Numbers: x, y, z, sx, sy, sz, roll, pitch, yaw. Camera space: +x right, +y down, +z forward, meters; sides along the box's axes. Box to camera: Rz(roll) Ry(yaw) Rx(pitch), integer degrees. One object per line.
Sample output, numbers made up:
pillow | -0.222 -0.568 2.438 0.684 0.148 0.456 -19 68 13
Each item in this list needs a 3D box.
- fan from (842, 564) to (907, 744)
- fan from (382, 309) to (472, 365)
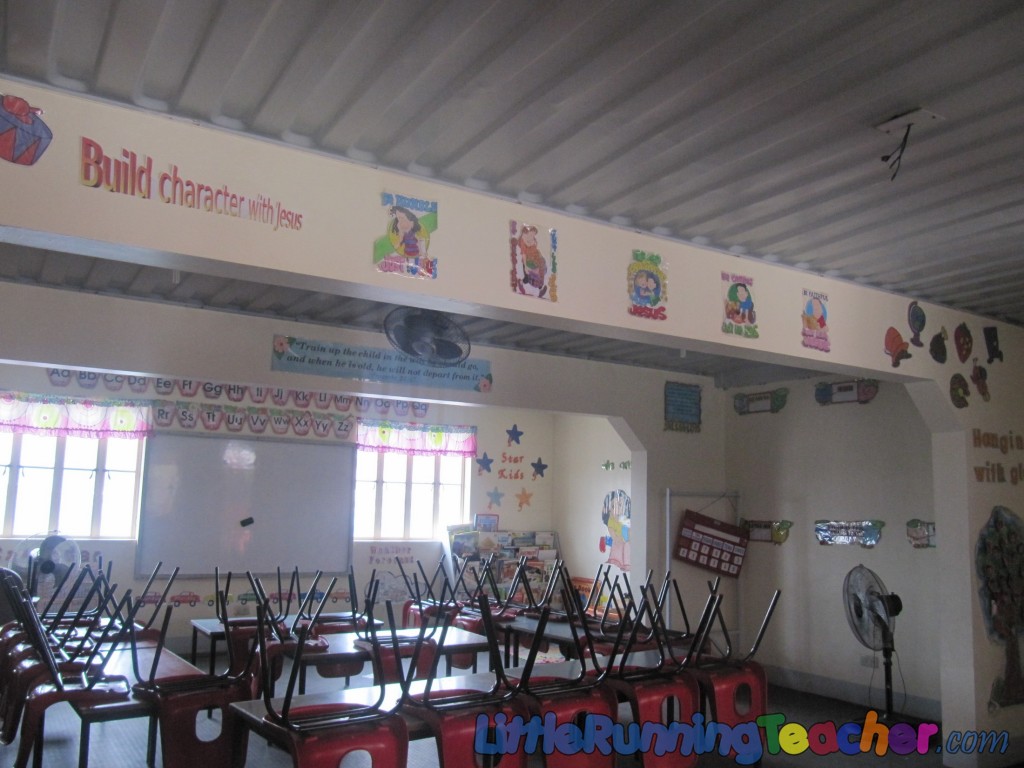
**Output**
fan | 3.131 2.178 6.477 0.532 1.266 0.416 5 -9 -39
fan | -0.593 -0.343 5.180 0.636 0.339 0.235 4 -8 -31
